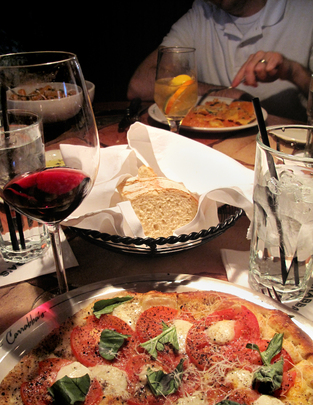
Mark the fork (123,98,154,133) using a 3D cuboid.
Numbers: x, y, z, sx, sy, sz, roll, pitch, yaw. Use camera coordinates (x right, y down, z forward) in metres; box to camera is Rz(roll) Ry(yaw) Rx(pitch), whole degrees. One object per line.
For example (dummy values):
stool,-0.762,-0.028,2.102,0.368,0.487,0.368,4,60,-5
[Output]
fork,-0.089,-0.397,1.606,0.078,0.073,0.262,8,24,14
